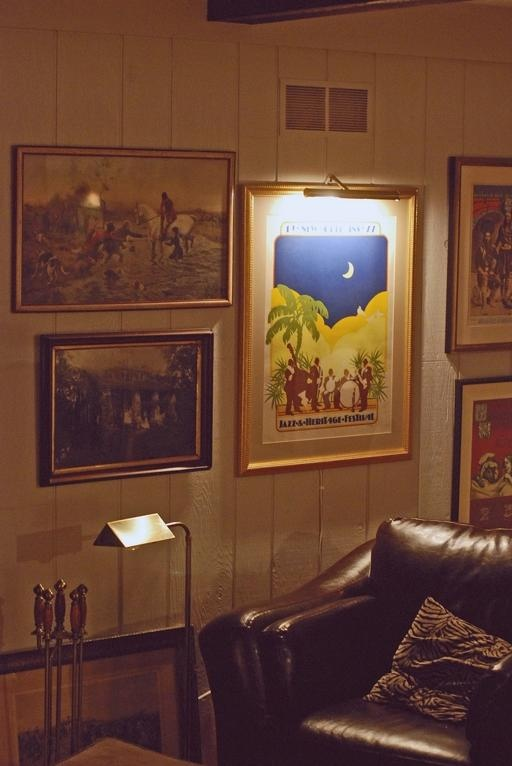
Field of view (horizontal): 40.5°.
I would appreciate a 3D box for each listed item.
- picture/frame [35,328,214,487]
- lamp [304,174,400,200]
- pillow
[{"bbox_3d":[-0.570,0.086,2.860,0.642,0.511,0.045,-6,11,-30],"label":"picture/frame"},{"bbox_3d":[0.433,-0.846,3.070,0.291,0.089,0.207,-1,7,-14],"label":"lamp"},{"bbox_3d":[0.561,0.876,2.152,0.106,0.331,0.328,34,8,-29],"label":"pillow"}]
